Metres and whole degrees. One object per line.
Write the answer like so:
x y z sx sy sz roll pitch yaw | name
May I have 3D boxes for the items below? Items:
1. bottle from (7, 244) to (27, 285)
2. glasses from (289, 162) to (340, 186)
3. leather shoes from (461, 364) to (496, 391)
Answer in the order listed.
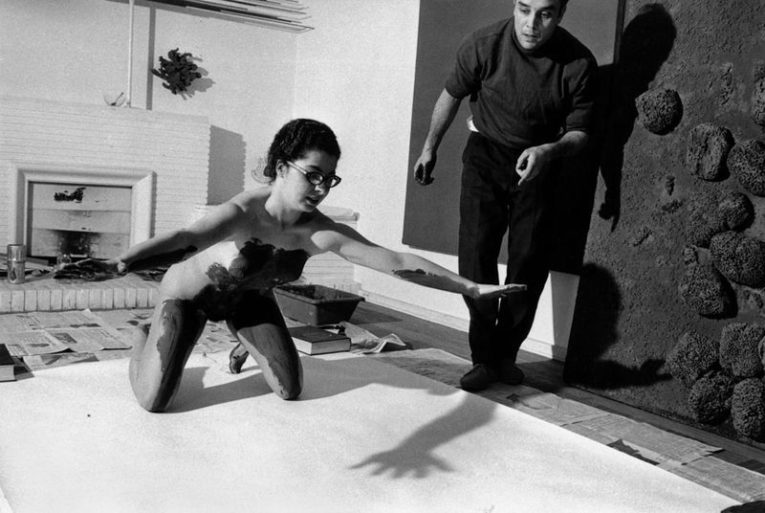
-2.616 0.049 4.003 0.091 0.251 0.170 -1 14 -27 | bottle
-0.265 -0.323 2.275 0.128 0.038 0.128 3 26 -49 | glasses
0.511 0.633 2.984 0.192 0.075 0.098 -3 9 -45 | leather shoes
